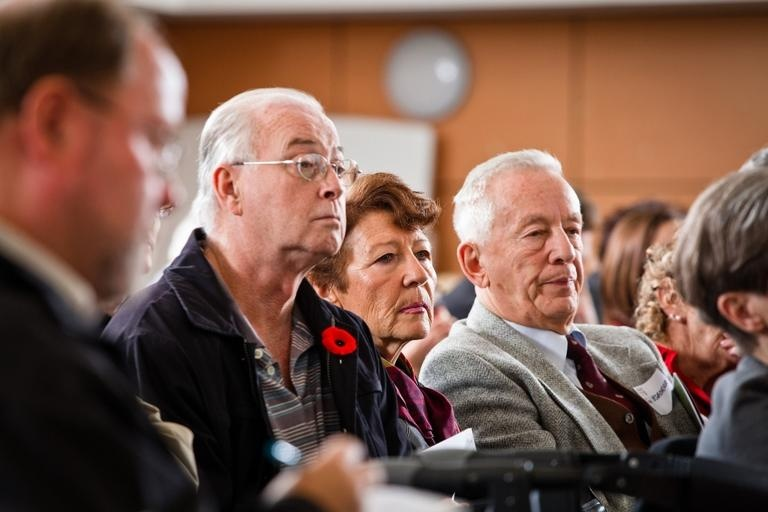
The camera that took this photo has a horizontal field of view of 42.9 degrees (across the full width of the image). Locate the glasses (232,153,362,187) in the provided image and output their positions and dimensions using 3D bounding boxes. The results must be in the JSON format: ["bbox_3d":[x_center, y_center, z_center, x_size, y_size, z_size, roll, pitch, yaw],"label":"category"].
[{"bbox_3d":[-0.251,-0.273,2.990,0.177,0.047,0.171,-4,-5,25],"label":"glasses"}]

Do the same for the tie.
[{"bbox_3d":[0.810,0.492,3.437,0.229,0.368,0.285,-28,-20,13],"label":"tie"}]
